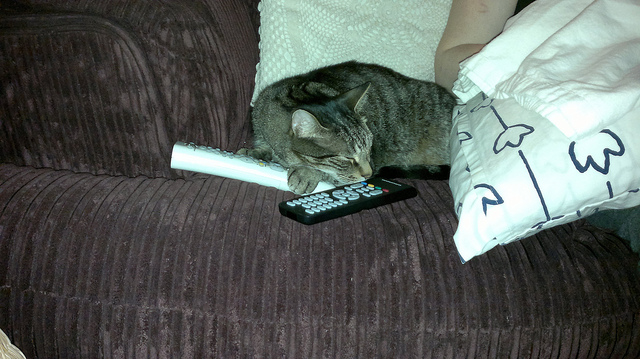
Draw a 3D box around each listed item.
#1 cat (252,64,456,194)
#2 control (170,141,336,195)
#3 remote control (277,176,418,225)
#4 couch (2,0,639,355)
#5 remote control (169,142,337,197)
[{"bbox_3d":[0.180,-0.220,2.249,0.454,0.380,0.778,1,35,-8],"label":"cat"},{"bbox_3d":[-0.251,-0.038,1.949,0.425,0.067,0.095,15,26,-19],"label":"control"},{"bbox_3d":[0.100,0.060,1.837,0.417,0.043,0.170,-12,22,-27],"label":"remote control"},{"bbox_3d":[-0.072,-0.002,1.868,1.981,0.464,1.099,5,58,-8],"label":"couch"},{"bbox_3d":[-0.250,-0.033,1.944,0.481,0.075,0.092,13,29,-21],"label":"remote control"}]
